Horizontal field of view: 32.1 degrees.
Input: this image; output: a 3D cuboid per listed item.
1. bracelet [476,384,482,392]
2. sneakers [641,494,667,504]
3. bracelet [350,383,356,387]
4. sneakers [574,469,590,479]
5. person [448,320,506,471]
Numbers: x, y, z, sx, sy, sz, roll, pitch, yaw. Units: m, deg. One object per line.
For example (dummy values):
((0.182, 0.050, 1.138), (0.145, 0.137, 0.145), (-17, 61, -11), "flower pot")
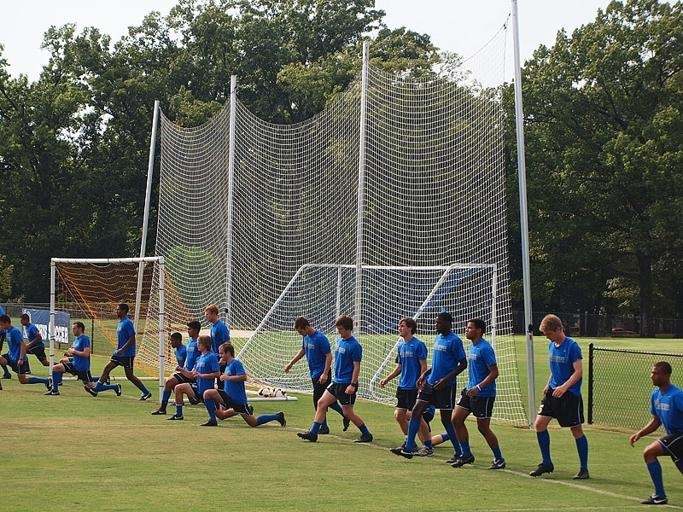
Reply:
((3.070, 2.985, 26.490), (0.124, 0.127, 0.033), (46, 2, 11), "bracelet")
((6.587, 5.186, 24.947), (0.568, 0.216, 0.189), (3, -17, 3), "sneakers")
((0.294, 3.115, 28.250), (0.095, 0.070, 0.099), (2, -1, 38), "bracelet")
((5.295, 4.881, 26.114), (0.315, 0.122, 0.162), (3, -12, -12), "sneakers")
((3.114, 3.161, 26.885), (1.170, 3.394, 0.910), (2, -6, 5), "person")
